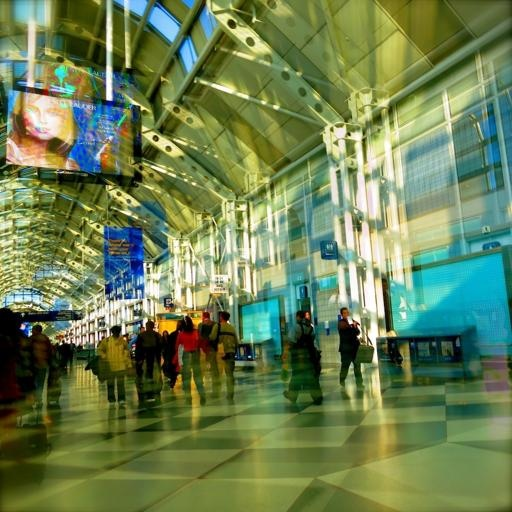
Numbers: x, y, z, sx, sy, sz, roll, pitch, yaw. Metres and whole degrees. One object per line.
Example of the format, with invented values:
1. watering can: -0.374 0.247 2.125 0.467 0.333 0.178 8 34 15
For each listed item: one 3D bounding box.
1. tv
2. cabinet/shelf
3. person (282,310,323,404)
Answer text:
1. tv: -6.270 -4.276 15.436 4.763 2.982 0.748 4 -13 -25
2. cabinet/shelf: 3.455 1.953 9.660 1.707 0.744 0.476 -8 2 24
3. person: 0.693 1.578 7.024 0.556 1.406 0.680 -7 -14 13
